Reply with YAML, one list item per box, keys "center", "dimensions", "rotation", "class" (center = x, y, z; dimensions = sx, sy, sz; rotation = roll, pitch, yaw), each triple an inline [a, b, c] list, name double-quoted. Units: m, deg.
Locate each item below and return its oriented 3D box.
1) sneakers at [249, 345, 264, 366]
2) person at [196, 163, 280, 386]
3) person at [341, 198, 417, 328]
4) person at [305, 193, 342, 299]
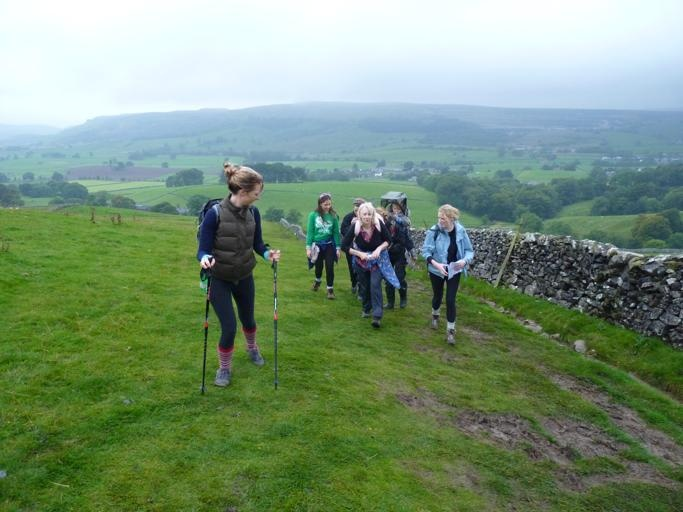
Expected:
- center: [-1.653, 1.915, 9.526]
  dimensions: [0.178, 0.200, 0.502]
  rotation: [-6, 6, -21]
  class: "sneakers"
- center: [-1.867, 0.306, 8.681]
  dimensions: [1.312, 3.861, 0.841]
  rotation: [-10, 20, -31]
  class: "person"
- center: [0.757, 0.262, 12.905]
  dimensions: [1.314, 3.256, 0.806]
  rotation: [12, 20, 34]
  class: "person"
- center: [-0.535, -0.231, 14.775]
  dimensions: [0.933, 3.309, 1.517]
  rotation: [0, 17, -1]
  class: "person"
